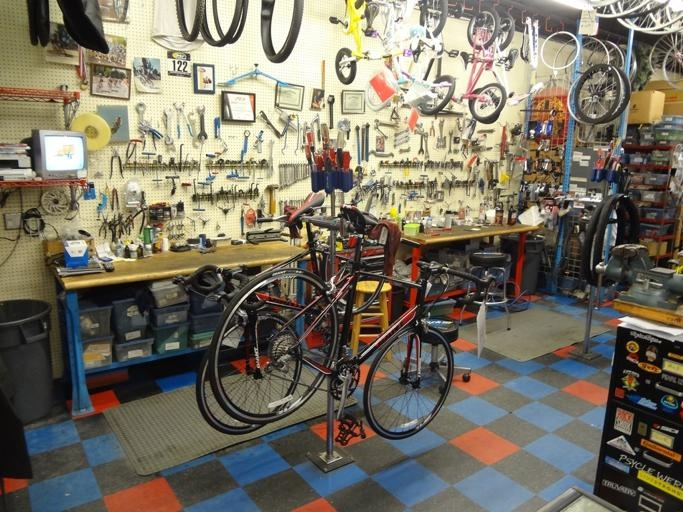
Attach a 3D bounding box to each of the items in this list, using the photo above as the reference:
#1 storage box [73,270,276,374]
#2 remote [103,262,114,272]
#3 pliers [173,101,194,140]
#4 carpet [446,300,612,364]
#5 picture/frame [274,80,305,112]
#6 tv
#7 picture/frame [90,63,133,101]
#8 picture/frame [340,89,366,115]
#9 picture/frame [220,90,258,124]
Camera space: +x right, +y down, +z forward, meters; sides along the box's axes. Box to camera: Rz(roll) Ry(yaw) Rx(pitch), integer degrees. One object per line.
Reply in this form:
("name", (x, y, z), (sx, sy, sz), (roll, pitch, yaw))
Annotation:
("storage box", (-1.529, 0.509, 4.607), (1.427, 0.491, 0.886), (-8, 13, -37))
("remote", (-1.984, 0.087, 4.352), (0.068, 0.032, 0.144), (-1, 20, -25))
("pliers", (-1.535, -1.309, 4.969), (0.164, 0.332, 0.044), (-9, 17, -32))
("carpet", (2.240, 0.840, 5.931), (1.907, 0.060, 1.010), (-11, 18, -39))
("picture/frame", (-0.574, -1.717, 5.468), (0.398, 0.277, 0.039), (-1, 17, -36))
("tv", (-2.293, -0.837, 4.210), (0.463, 0.400, 0.449), (11, 14, 33))
("picture/frame", (-2.086, -1.570, 4.588), (0.390, 0.315, 0.043), (-3, 12, -36))
("picture/frame", (0.117, -1.805, 5.959), (0.338, 0.273, 0.036), (-7, 18, -33))
("picture/frame", (-1.061, -1.514, 5.184), (0.398, 0.310, 0.039), (-3, 11, -34))
